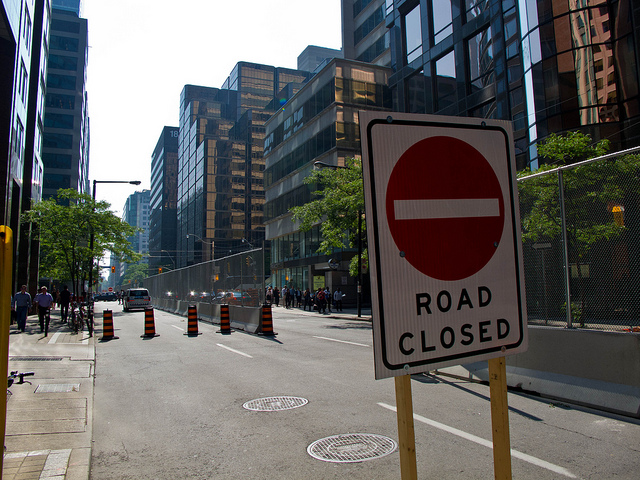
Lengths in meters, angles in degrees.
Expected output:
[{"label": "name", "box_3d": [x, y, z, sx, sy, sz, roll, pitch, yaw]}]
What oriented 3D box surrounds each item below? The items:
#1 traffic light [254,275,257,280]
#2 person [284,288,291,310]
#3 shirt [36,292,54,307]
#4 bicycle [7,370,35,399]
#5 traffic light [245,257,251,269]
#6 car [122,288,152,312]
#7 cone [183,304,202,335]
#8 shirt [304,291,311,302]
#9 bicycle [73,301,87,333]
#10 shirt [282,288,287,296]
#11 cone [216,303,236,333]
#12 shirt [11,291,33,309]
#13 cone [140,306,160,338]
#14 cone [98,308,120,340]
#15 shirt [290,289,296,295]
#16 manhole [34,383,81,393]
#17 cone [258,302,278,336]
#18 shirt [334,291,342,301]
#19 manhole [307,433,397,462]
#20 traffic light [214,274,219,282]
[{"label": "traffic light", "box_3d": [-2.510, 1.448, 20.931, 0.060, 0.172, 0.164, -1, -1, -45]}, {"label": "person", "box_3d": [-2.698, 4.856, 44.461, 0.524, 1.663, 1.604, -1, -1, -4]}, {"label": "shirt", "box_3d": [-10.916, 2.392, 21.425, 0.390, 0.791, 0.720, -12, -12, 37]}, {"label": "bicycle", "box_3d": [-6.223, 2.912, 11.038, 0.466, 0.335, 0.656, -1, -6, -8]}, {"label": "traffic light", "box_3d": [-2.898, 0.900, 21.609, 0.116, 0.405, 0.791, -1, -1, -15]}, {"label": "car", "box_3d": [-14.757, 4.755, 42.910, 1.370, 1.466, 3.047, 1, -3, -22]}, {"label": "cone", "box_3d": [-4.842, 3.139, 21.010, 0.836, 1.148, 0.871, 4, -9, -38]}, {"label": "shirt", "box_3d": [-0.926, 4.240, 40.393, 0.227, 0.785, 0.554, -1, 0, 5]}, {"label": "bicycle", "box_3d": [-10.540, 3.533, 23.960, 0.763, 1.144, 1.619, 2, -10, -30]}, {"label": "shirt", "box_3d": [-2.912, 4.324, 44.948, 0.149, 0.553, 1.000, -1, -1, -21]}, {"label": "cone", "box_3d": [-3.792, 3.155, 21.390, 0.689, 1.139, 1.027, -1, -1, -11]}, {"label": "shirt", "box_3d": [-11.649, 2.300, 20.966, 0.527, 0.677, 0.901, -1, -1, -26]}, {"label": "cone", "box_3d": [-6.491, 3.214, 20.791, 0.790, 1.078, 0.814, 3, -13, -39]}, {"label": "cone", "box_3d": [-7.997, 3.204, 20.100, 0.791, 1.103, 0.886, -6, -10, 14]}, {"label": "shirt", "box_3d": [-2.368, 4.253, 45.281, 0.329, 0.426, 0.671, -1, -16, 7]}, {"label": "manhole", "box_3d": [-5.355, 3.037, 11.005, 0.769, 0.076, 0.845, -1, -2, -23]}, {"label": "cone", "box_3d": [-1.959, 2.884, 19.800, 0.903, 1.374, 1.019, -2, -5, -2]}, {"label": "shirt", "box_3d": [1.207, 3.905, 37.735, 0.441, 1.022, 0.649, 1, -8, 3]}, {"label": "manhole", "box_3d": [0.463, 3.028, 7.828, 1.279, 0.090, 0.894, -2, -1, 3]}, {"label": "traffic light", "box_3d": [-4.981, 1.809, 25.864, 0.317, 0.375, 0.173, 4, -9, -39]}]
